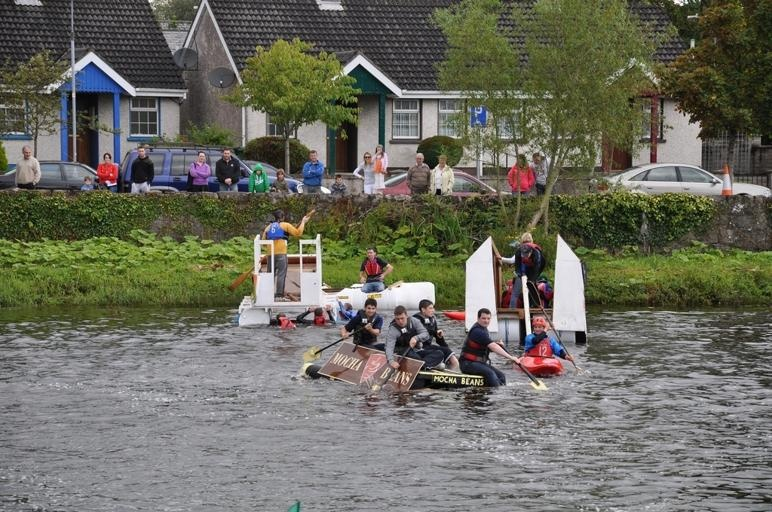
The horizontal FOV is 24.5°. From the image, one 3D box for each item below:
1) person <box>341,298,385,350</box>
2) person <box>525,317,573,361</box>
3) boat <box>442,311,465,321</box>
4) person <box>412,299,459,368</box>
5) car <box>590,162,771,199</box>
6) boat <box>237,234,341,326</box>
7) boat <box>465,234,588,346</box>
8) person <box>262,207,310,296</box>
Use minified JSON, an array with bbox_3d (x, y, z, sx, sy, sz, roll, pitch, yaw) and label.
[{"bbox_3d":[-0.655,1.970,51.932,1.156,1.459,0.843,-1,1,-3],"label":"person"},{"bbox_3d":[4.595,2.534,52.377,0.921,1.518,2.048,-1,-3,0],"label":"person"},{"bbox_3d":[2.189,1.932,56.946,0.748,0.240,0.255,4,17,-28],"label":"boat"},{"bbox_3d":[1.565,2.290,51.833,0.967,2.243,1.413,2,-2,-30],"label":"person"},{"bbox_3d":[11.156,-2.870,67.252,6.147,1.237,3.648,-1,1,-2],"label":"car"},{"bbox_3d":[-3.116,0.764,57.351,2.940,2.826,3.458,-1,1,5],"label":"boat"},{"bbox_3d":[4.386,1.436,55.545,3.121,2.781,3.331,0,3,5],"label":"boat"},{"bbox_3d":[-3.241,-0.065,56.572,1.460,3.096,0.781,0,-9,17],"label":"person"}]
